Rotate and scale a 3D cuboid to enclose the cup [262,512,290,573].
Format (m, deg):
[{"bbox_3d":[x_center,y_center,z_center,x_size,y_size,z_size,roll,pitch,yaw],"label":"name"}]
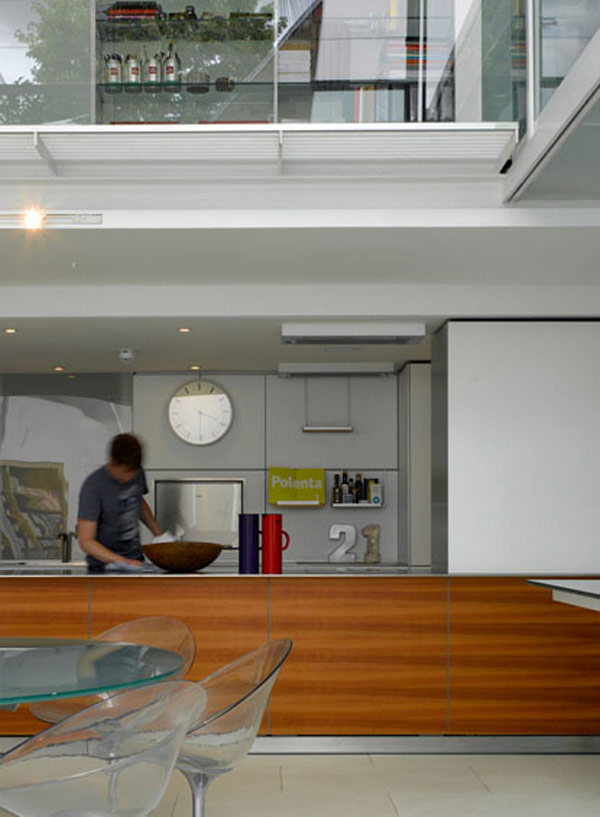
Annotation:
[{"bbox_3d":[-0.128,0.646,5.008,0.119,0.287,0.224,0,3,-2],"label":"cup"}]

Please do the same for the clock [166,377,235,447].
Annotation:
[{"bbox_3d":[-0.644,0.040,6.645,0.411,0.426,0.045,1,-7,-1],"label":"clock"}]

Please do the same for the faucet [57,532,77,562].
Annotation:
[{"bbox_3d":[-1.483,0.868,6.508,0.099,0.182,0.057,1,3,3],"label":"faucet"}]

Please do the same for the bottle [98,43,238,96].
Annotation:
[{"bbox_3d":[-0.520,-1.333,4.074,0.520,0.188,0.054,0,3,-5],"label":"bottle"}]

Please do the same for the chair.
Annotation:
[{"bbox_3d":[-0.447,1.082,3.300,0.685,0.917,0.750,2,-9,-9],"label":"chair"}]

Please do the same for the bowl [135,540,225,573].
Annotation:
[{"bbox_3d":[-0.574,0.720,4.982,0.366,0.180,0.205,0,3,-6],"label":"bowl"}]
